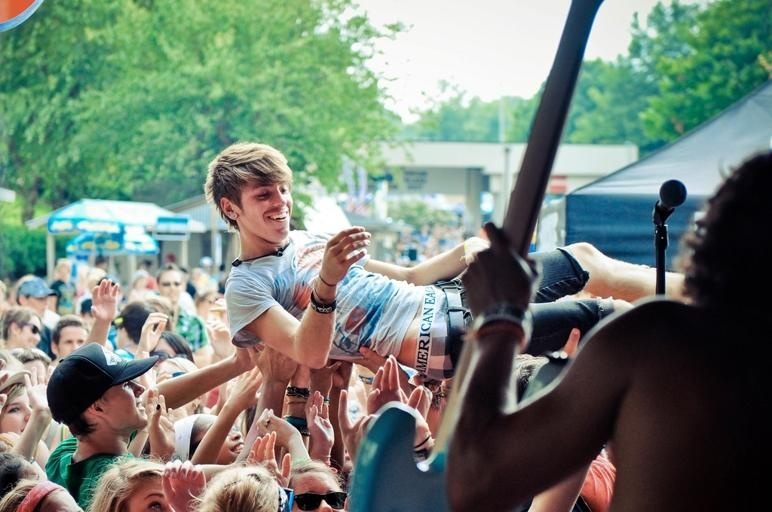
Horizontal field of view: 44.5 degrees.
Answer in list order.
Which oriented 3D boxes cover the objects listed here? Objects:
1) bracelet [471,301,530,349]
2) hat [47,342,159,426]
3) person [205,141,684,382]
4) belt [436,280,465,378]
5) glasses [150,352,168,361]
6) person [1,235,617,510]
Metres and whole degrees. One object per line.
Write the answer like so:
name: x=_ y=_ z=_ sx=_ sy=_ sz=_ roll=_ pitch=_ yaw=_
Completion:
bracelet: x=0.563 y=0.326 z=4.588 sx=0.239 sy=0.207 sz=0.081 roll=21 pitch=28 yaw=-25
hat: x=-1.804 y=0.788 z=6.113 sx=0.632 sy=0.331 sz=0.392 roll=-37 pitch=10 yaw=-7
person: x=0.252 y=0.121 z=6.118 sx=2.767 sy=1.123 sz=1.516 roll=-1 pitch=16 yaw=15
belt: x=0.464 y=0.458 z=6.241 sx=0.123 sy=0.512 sz=0.361 roll=-1 pitch=-2 yaw=0
glasses: x=-1.711 y=0.767 z=7.165 sx=0.091 sy=0.038 sz=0.012 roll=10 pitch=21 yaw=32
person: x=-0.491 y=0.677 z=6.315 sx=4.006 sy=1.197 sz=1.501 roll=-1 pitch=3 yaw=-8
